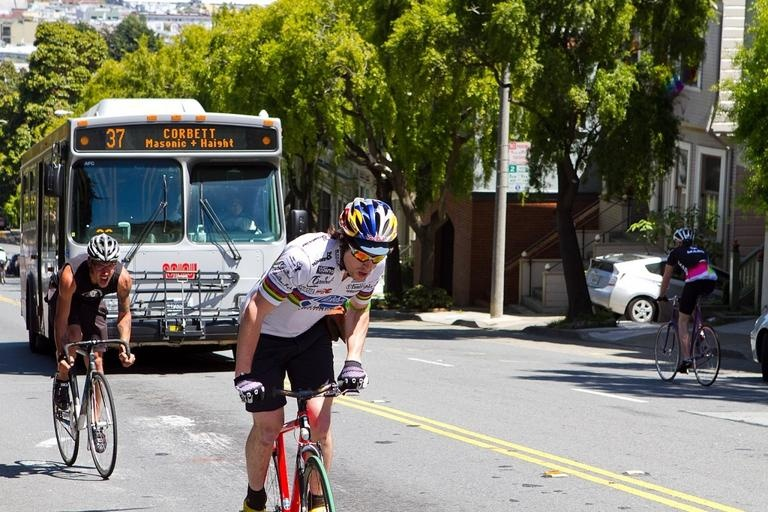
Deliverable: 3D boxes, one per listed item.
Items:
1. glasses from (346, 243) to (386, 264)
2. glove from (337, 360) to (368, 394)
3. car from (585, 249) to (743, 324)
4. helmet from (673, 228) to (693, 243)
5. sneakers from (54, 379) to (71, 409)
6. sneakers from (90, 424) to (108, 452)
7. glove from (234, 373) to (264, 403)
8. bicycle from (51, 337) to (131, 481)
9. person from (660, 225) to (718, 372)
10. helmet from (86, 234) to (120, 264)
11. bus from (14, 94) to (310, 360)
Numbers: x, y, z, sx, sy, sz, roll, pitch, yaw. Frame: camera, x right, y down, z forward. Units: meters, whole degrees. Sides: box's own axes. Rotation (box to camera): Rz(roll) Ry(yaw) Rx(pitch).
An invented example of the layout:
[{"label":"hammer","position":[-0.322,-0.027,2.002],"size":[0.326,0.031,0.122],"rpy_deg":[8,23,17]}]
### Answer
[{"label":"glasses","position":[-0.168,-0.001,10.393],"size":[0.220,0.068,0.220],"rpy_deg":[8,34,-42]},{"label":"glove","position":[-0.318,1.188,10.698],"size":[0.275,0.334,0.360],"rpy_deg":[-1,-2,-2]},{"label":"car","position":[7.509,0.885,29.911],"size":[3.106,1.413,1.865],"rpy_deg":[-5,8,-17]},{"label":"helmet","position":[5.315,-0.367,19.085],"size":[0.261,0.313,0.331],"rpy_deg":[-4,15,-30]},{"label":"sneakers","position":[-4.083,1.748,13.602],"size":[0.160,0.482,0.204],"rpy_deg":[-5,-2,-20]},{"label":"sneakers","position":[-3.464,2.194,13.062],"size":[0.157,0.431,0.167],"rpy_deg":[-11,5,-10]},{"label":"glove","position":[-1.343,1.296,10.513],"size":[0.242,0.144,0.302],"rpy_deg":[12,23,-46]},{"label":"bicycle","position":[-3.653,1.857,13.263],"size":[0.570,1.669,1.404],"rpy_deg":[0,-2,-37]},{"label":"person","position":[5.374,0.761,18.800],"size":[0.871,2.537,0.907],"rpy_deg":[-2,-1,32]},{"label":"helmet","position":[-3.429,-0.128,13.072],"size":[0.286,0.229,0.407],"rpy_deg":[1,31,-21]},{"label":"bus","position":[-5.050,-0.955,23.155],"size":[4.329,4.671,9.745],"rpy_deg":[-1,7,-16]}]
